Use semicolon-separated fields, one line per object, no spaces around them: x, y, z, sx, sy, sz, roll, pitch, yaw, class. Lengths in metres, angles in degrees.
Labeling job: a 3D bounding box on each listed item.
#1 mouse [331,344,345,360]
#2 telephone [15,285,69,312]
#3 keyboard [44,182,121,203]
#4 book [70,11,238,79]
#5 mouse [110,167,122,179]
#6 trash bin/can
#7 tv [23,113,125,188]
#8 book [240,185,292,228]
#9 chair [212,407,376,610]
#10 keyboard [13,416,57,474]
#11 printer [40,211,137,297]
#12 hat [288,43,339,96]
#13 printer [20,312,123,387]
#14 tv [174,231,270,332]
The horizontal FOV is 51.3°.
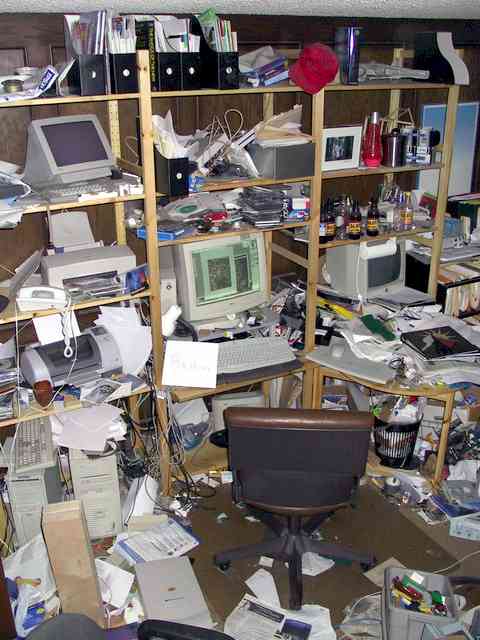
0.519;0.169;2.624;0.063;0.053;0.063;8;19;35;mouse
-0.769;-0.083;1.921;0.162;0.096;0.069;-1;-5;-30;telephone
-0.610;-0.491;1.922;0.297;0.058;0.170;-10;20;-21;keyboard
-0.271;-1.068;1.899;0.443;0.192;0.414;-10;31;-22;book
-0.516;-0.612;2.090;0.048;0.043;0.047;-4;24;-18;mouse
0.849;0.620;2.727;0.233;0.333;0.233;17;30;38;trash bin/can
-0.680;-0.599;2.040;0.343;0.287;0.338;-19;51;-28;tv
0.114;-0.555;2.447;0.240;0.175;0.233;-3;19;0;book
0.234;0.687;2.117;0.725;0.799;0.637;0;11;-7;chair
-0.922;0.525;2.210;0.104;0.190;0.043;-3;-24;-11;keyboard
-0.738;-0.326;2.270;0.367;0.149;0.382;-12;-20;25;printer
0.327;-1.103;2.192;0.205;0.204;0.121;-10;20;-19;hat
-0.738;0.176;2.196;0.395;0.235;0.282;-25;29;-39;printer
-0.112;-0.202;2.539;0.422;0.358;0.229;-18;30;-27;tv
